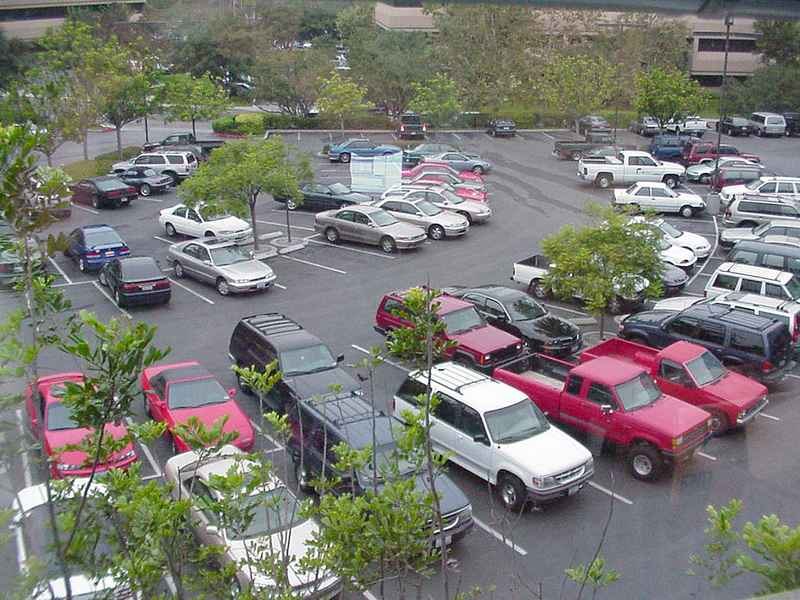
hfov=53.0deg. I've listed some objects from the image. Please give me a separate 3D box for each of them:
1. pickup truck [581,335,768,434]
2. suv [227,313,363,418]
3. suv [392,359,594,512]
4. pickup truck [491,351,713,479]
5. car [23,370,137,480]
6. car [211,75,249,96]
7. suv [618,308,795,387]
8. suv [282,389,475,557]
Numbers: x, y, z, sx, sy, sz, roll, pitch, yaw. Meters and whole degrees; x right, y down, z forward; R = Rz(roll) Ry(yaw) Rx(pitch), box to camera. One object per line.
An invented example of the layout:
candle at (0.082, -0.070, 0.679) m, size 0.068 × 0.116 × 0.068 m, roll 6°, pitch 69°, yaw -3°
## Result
pickup truck at (5.948, 1.747, 17.684) m, size 3.882 × 1.544 × 1.837 m, roll 17°, pitch 22°, yaw 42°
suv at (-2.438, 1.547, 17.649) m, size 1.582 × 1.702 × 3.644 m, roll -7°, pitch 21°, yaw -35°
suv at (1.680, 2.633, 15.782) m, size 2.123 × 1.988 × 4.258 m, roll -24°, pitch 34°, yaw -38°
pickup truck at (4.135, 2.389, 16.409) m, size 1.909 × 1.657 × 3.827 m, roll -24°, pitch 34°, yaw -39°
car at (-5.889, 2.163, 14.115) m, size 1.288 × 1.116 × 3.038 m, roll 2°, pitch 17°, yaw -36°
car at (-13.111, -16.595, 61.803) m, size 2.714 × 1.527 × 3.411 m, roll -10°, pitch 20°, yaw -13°
suv at (7.113, 0.974, 18.746) m, size 3.274 × 1.647 × 1.635 m, roll 23°, pitch 28°, yaw 30°
suv at (-0.541, 3.160, 14.692) m, size 2.006 × 1.963 × 4.330 m, roll -4°, pitch 16°, yaw -34°
